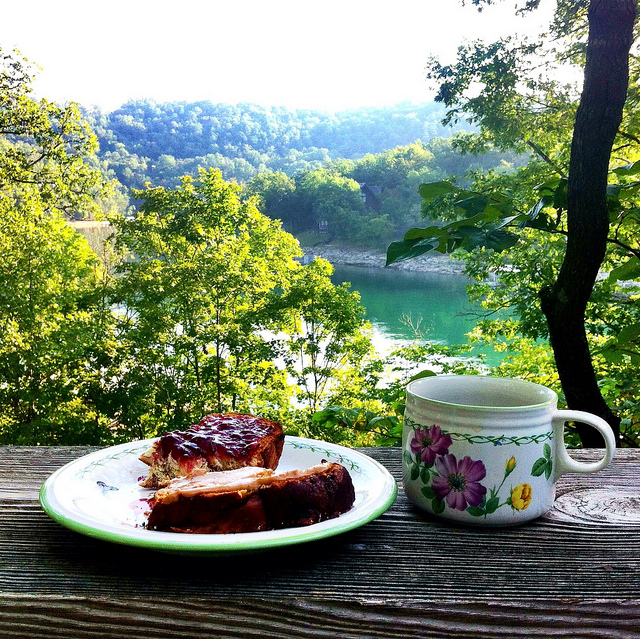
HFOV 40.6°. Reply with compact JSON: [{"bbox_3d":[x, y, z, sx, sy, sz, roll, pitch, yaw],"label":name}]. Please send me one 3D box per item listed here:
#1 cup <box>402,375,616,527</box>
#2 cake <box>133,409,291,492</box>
[{"bbox_3d":[0.264,0.201,1.324,0.213,0.206,0.298,-3,4,-27],"label":"cup"},{"bbox_3d":[-0.197,0.224,1.526,0.267,0.066,0.178,-8,21,-15],"label":"cake"}]
